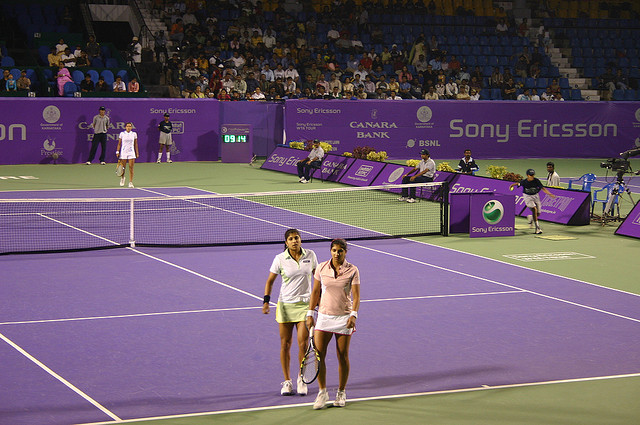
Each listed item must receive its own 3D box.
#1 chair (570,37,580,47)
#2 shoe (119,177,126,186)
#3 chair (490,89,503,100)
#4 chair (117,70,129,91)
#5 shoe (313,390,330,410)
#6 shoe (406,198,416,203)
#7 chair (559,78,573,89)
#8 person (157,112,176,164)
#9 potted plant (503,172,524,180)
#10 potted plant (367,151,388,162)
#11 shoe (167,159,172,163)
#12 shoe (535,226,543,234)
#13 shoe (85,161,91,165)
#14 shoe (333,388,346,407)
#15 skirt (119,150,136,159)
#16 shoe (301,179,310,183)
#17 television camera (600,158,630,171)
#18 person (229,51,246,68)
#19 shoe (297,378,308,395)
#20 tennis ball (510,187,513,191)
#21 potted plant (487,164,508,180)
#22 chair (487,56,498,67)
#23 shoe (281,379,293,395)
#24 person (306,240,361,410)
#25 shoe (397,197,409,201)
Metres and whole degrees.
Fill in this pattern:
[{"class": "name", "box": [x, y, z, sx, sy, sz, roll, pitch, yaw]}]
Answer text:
[{"class": "chair", "box": [17.258, -11.384, 42.992, 0.632, 0.545, 0.411, 4, 13, 16]}, {"class": "shoe", "box": [-7.802, -1.208, 25.052, 0.179, 0.189, 0.480, 4, 23, -6]}, {"class": "chair", "box": [10.671, -7.121, 38.627, 0.719, 0.703, 0.724, -1, 7, 1]}, {"class": "chair", "box": [-10.469, -7.054, 33.744, 0.768, 1.012, 0.837, -2, 10, -21]}, {"class": "shoe", "box": [0.000, 2.467, 8.521, 0.199, 0.261, 0.191, 0, 12, -3]}, {"class": "shoe", "box": [3.237, -0.435, 22.753, 0.299, 0.168, 0.413, 5, 13, 18]}, {"class": "chair", "box": [15.638, -8.214, 40.644, 0.856, 0.864, 0.642, 0, 7, -3]}, {"class": "person", "box": [-7.708, -3.631, 31.594, 0.840, 2.477, 1.305, -2, 13, -13]}, {"class": "potted plant", "box": [6.467, -1.188, 21.201, 0.658, 0.273, 0.680, 0, 2, 25]}, {"class": "potted plant", "box": [2.305, -2.270, 26.259, 0.537, 0.321, 0.537, 1, 1, -4]}, {"class": "shoe", "box": [-7.658, -2.593, 32.216, 0.157, 0.179, 0.373, 4, 13, 17]}, {"class": "shoe", "box": [6.456, 0.508, 18.738, 0.201, 0.236, 0.395, 4, 13, 16]}, {"class": "shoe", "box": [-11.377, -2.380, 31.034, 0.115, 0.178, 0.058, 0, 6, 7]}, {"class": "shoe", "box": [0.249, 2.473, 8.549, 0.153, 0.243, 0.100, 0, 12, -2]}, {"class": "skirt", "box": [-7.345, -2.152, 24.001, 0.625, 0.324, 0.538, 0, 12, -3]}, {"class": "shoe", "box": [-0.659, -1.296, 26.427, 0.464, 0.210, 0.157, 1, 2, -4]}, {"class": "television camera", "box": [8.924, -1.433, 19.128, 0.685, 0.324, 0.526, -1, 4, -14]}, {"class": "person", "box": [-4.699, -8.588, 36.165, 0.809, 0.806, 0.746, 1, 12, 4]}, {"class": "shoe", "box": [-0.261, 2.424, 8.912, 0.105, 0.246, 0.105, -16, -7, 16]}, {"class": "tennis ball", "box": [5.838, -0.718, 19.292, 0.051, 0.108, 0.113, 26, 1, -3]}, {"class": "potted plant", "box": [5.994, -1.391, 21.897, 0.793, 0.553, 0.774, 0, 1, -40]}, {"class": "chair", "box": [11.124, -9.664, 40.867, 0.701, 0.601, 0.752, 1, 12, 3]}, {"class": "shoe", "box": [-0.469, 2.410, 8.894, 0.145, 0.212, 0.258, 3, 12, 10]}, {"class": "person", "box": [0.169, 1.494, 8.587, 0.690, 2.185, 0.724, 0, 12, -1]}, {"class": "shoe", "box": [3.005, -0.472, 22.977, 0.355, 0.150, 0.128, 2, 0, -19]}]
